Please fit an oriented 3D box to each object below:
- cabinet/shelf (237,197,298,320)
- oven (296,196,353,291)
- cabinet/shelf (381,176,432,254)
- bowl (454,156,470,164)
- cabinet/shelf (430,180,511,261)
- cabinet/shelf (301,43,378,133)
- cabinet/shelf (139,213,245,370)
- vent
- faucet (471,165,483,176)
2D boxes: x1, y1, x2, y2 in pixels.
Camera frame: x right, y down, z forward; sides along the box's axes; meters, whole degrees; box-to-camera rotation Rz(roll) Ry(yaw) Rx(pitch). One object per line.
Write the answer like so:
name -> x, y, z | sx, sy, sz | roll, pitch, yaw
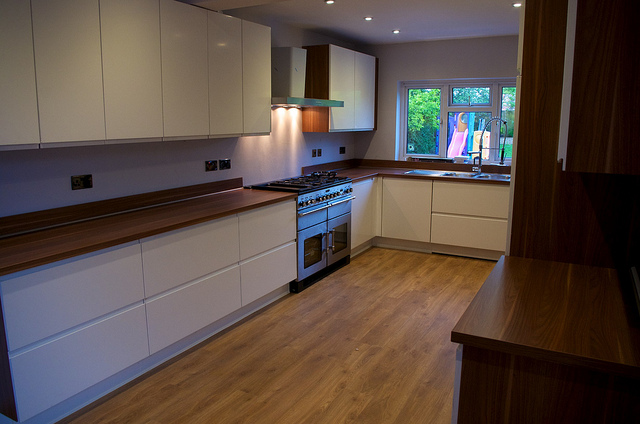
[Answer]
cabinet/shelf -> -0.671, 0.388, 4.212 | 0.507, 0.954, 0.971 | 2, 7, 24
oven -> -0.031, 0.290, 4.845 | 0.449, 0.842, 0.958 | 13, 25, 39
cabinet/shelf -> 1.172, 0.007, 5.646 | 0.797, 1.108, 0.585 | 8, 14, 34
bowl -> 2.041, -0.762, 6.093 | 0.204, 0.098, 0.125 | 6, 17, 24
cabinet/shelf -> 1.872, 0.071, 5.204 | 0.873, 0.848, 0.492 | 5, 8, 26
cabinet/shelf -> 0.221, -1.583, 5.404 | 0.424, 1.155, 1.339 | 5, 6, 35
cabinet/shelf -> -1.037, 0.633, 3.322 | 0.320, 0.853, 1.002 | 5, 14, 33
vent -> -0.220, -1.459, 4.633 | 0.508, 0.628, 0.973 | 5, 12, 40
faucet -> 2.140, -0.561, 5.765 | 0.098, 0.169, 0.161 | -5, 14, -19
